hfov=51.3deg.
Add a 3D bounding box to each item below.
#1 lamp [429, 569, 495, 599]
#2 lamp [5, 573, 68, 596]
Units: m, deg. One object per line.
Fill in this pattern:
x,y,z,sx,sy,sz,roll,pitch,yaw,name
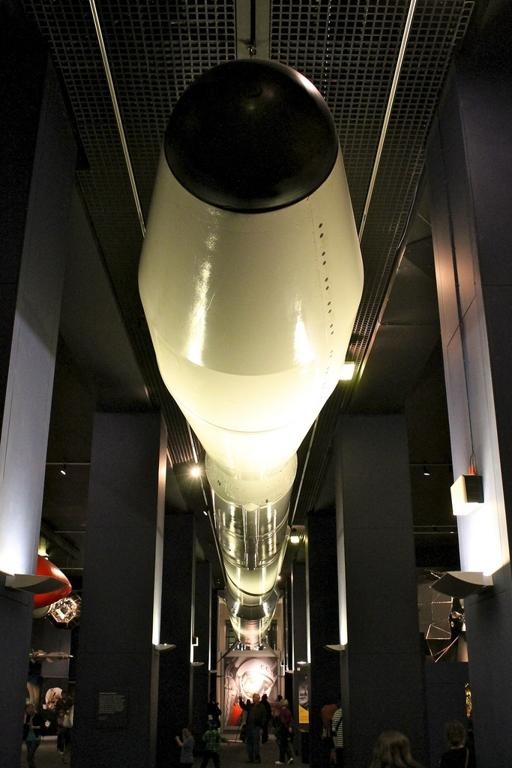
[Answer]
0.955,0.928,2.486,0.243,0.110,0.445,-8,-25,15,lamp
-0.975,0.874,2.325,0.145,0.046,0.166,16,-18,-9,lamp
